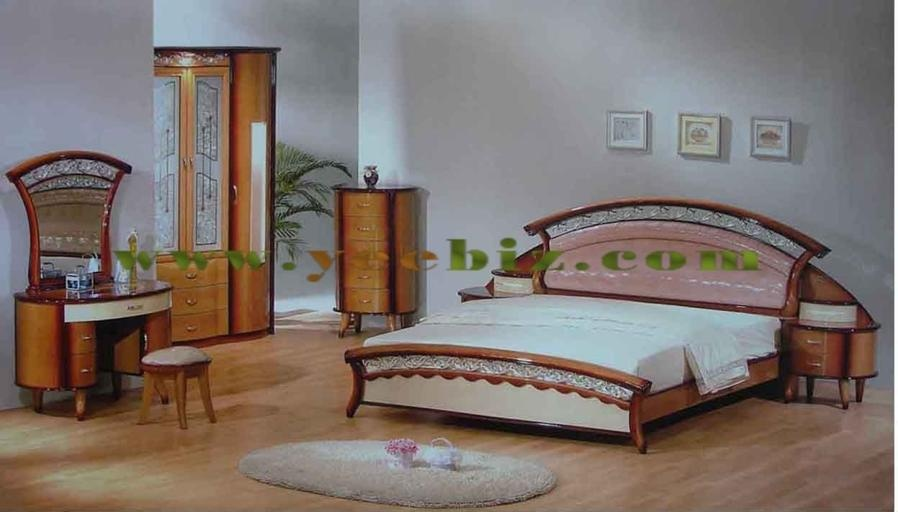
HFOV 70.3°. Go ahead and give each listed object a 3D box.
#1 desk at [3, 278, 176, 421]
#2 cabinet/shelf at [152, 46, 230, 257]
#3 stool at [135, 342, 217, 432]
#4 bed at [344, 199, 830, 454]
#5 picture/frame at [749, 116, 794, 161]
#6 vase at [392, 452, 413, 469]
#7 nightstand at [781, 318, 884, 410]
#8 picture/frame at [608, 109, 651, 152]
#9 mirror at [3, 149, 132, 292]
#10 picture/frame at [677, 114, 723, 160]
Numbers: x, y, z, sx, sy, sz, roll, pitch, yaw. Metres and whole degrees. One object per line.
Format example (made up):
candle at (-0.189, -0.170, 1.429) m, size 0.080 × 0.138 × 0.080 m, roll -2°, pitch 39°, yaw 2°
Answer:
desk at (-2.719, 0.501, 5.118) m, size 0.978 × 1.025 × 1.487 m, roll 5°, pitch 8°, yaw 30°
cabinet/shelf at (-2.466, -1.039, 6.217) m, size 0.763 × 1.889 × 0.389 m, roll -4°, pitch 14°, yaw -16°
stool at (-2.017, 0.935, 4.912) m, size 0.657 × 0.640 × 0.614 m, roll 1°, pitch 5°, yaw 14°
bed at (1.119, 0.347, 5.086) m, size 2.791 × 1.294 × 2.839 m, roll 1°, pitch 6°, yaw 38°
picture/frame at (2.650, -0.974, 5.260) m, size 0.403 × 0.381 × 0.047 m, roll 3°, pitch 5°, yaw 22°
vase at (-0.291, 1.292, 4.033) m, size 0.109 × 0.091 × 0.091 m, roll 0°, pitch 4°, yaw 9°
nightstand at (3.036, 0.891, 5.209) m, size 0.718 × 0.544 × 0.621 m, roll -2°, pitch -8°, yaw 41°
picture/frame at (1.613, -1.135, 5.713) m, size 0.433 × 0.368 × 0.059 m, roll 2°, pitch 2°, yaw 21°
mirror at (-2.995, -0.270, 4.988) m, size 1.154 × 1.082 × 0.131 m, roll -6°, pitch 9°, yaw -43°
picture/frame at (2.149, -1.035, 5.477) m, size 0.420 × 0.386 × 0.044 m, roll 7°, pitch 13°, yaw 31°
